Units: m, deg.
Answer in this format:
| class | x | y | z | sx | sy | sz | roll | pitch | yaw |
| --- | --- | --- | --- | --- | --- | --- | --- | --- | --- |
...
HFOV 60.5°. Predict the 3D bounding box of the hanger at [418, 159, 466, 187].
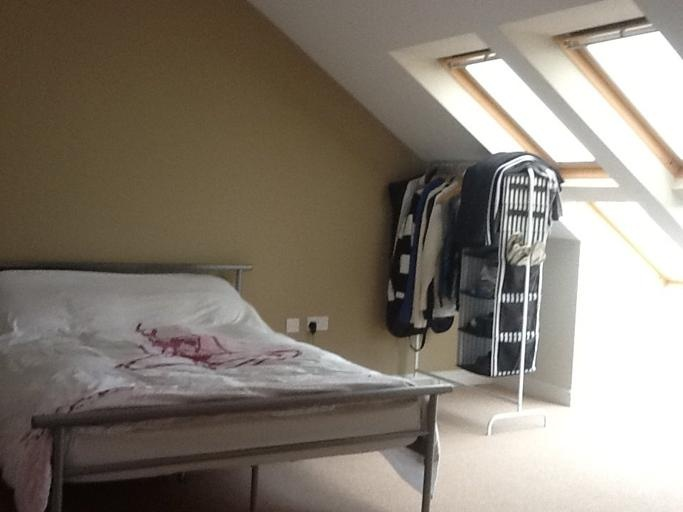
| class | x | y | z | sx | sy | sz | roll | pitch | yaw |
| --- | --- | --- | --- | --- | --- | --- | --- | --- | --- |
| hanger | 0.743 | -0.600 | 4.265 | 0.318 | 0.103 | 0.322 | -1 | -4 | 34 |
